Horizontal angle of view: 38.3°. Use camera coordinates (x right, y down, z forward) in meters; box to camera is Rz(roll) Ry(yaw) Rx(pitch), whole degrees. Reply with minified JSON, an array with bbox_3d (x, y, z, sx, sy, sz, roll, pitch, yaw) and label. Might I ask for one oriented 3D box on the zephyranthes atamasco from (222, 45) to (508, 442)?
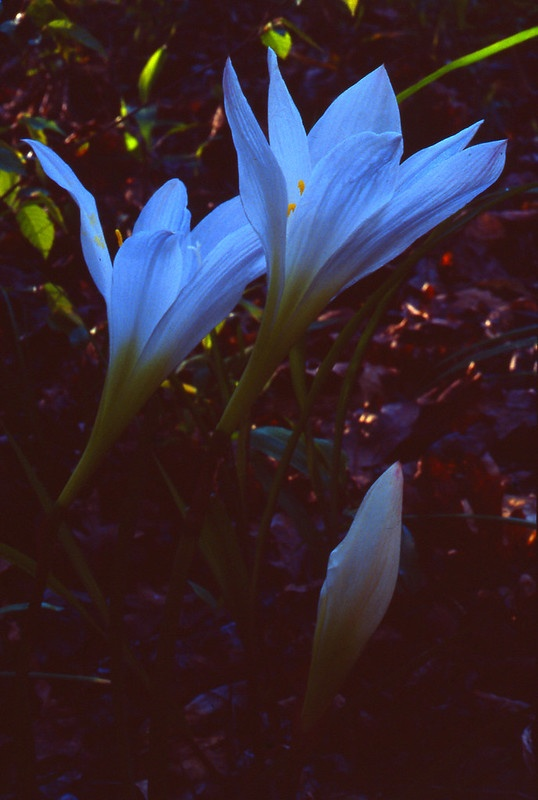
[{"bbox_3d":[0.023,-0.065,0.305,0.095,0.124,0.130,4,20,-8],"label":"zephyranthes atamasco"}]
